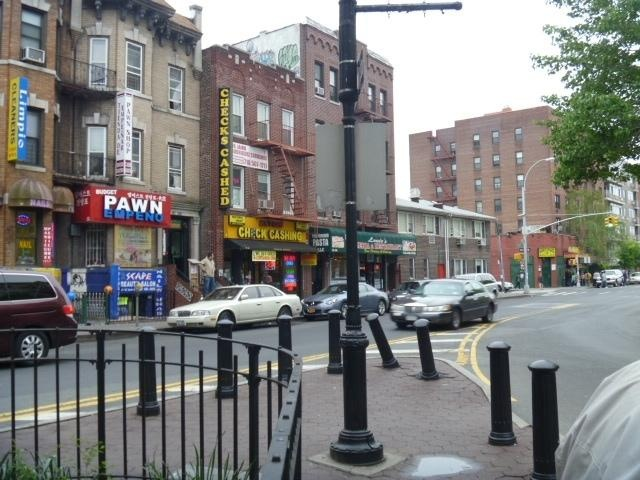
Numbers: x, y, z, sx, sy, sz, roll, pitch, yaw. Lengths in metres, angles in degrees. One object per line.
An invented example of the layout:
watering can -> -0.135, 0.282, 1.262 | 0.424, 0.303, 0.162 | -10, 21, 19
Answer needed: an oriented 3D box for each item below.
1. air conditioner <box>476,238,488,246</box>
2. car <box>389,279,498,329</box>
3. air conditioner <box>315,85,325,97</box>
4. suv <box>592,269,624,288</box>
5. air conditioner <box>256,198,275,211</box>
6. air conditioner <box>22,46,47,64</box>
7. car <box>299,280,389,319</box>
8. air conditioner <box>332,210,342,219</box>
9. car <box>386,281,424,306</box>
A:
air conditioner -> 11.946, 0.155, 58.973 | 0.313, 0.715, 1.680 | 3, 6, 35
car -> 4.027, 2.043, 26.241 | 1.829, 1.599, 3.688 | -7, -6, 43
air conditioner -> 0.025, -7.499, 41.117 | 0.393, 0.524, 0.772 | -3, -3, 28
suv -> 24.487, 3.225, 68.634 | 2.091, 1.507, 7.178 | -5, -5, 19
air conditioner -> -2.393, -1.554, 35.882 | 0.526, 0.394, 0.555 | 0, -2, 28
air conditioner -> -9.638, -6.180, 27.408 | 0.426, 0.613, 0.834 | -1, -1, 30
car -> 0.851, 2.288, 30.684 | 2.443, 1.255, 3.145 | -6, -5, 30
air conditioner -> 0.915, -1.274, 41.481 | 0.415, 0.438, 0.886 | -4, -4, 18
car -> 3.531, 2.240, 34.491 | 0.874, 0.719, 2.007 | -5, -6, 29
